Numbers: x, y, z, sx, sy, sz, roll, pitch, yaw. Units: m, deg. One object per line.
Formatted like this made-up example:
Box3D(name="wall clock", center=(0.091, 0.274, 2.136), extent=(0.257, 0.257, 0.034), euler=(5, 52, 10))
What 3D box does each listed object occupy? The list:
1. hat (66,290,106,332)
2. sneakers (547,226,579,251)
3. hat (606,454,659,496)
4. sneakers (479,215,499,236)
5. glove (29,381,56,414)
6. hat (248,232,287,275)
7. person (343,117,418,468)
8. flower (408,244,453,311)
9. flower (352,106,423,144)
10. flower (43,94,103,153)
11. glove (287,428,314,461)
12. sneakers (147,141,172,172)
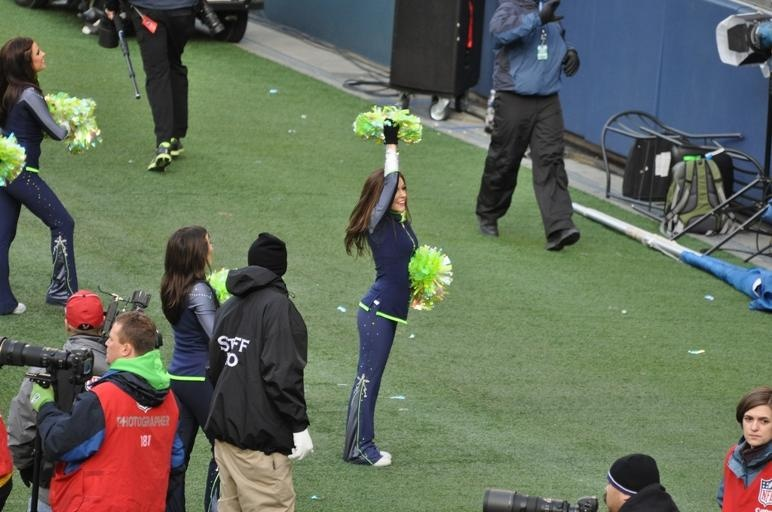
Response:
Box3D(name="hat", center=(-2.103, 0.412, 7.265), extent=(0.217, 0.282, 0.161), euler=(-2, -22, -11))
Box3D(name="sneakers", center=(1.855, -0.159, 10.841), extent=(0.290, 0.304, 0.144), euler=(24, 22, 39))
Box3D(name="hat", center=(1.512, 1.281, 6.267), extent=(0.294, 0.227, 0.212), euler=(23, 23, 17))
Box3D(name="sneakers", center=(1.109, -0.295, 11.164), extent=(0.110, 0.205, 0.316), euler=(-12, 19, -32))
Box3D(name="glove", center=(-2.186, 0.898, 6.596), extent=(0.108, 0.176, 0.167), euler=(-3, 21, -35))
Box3D(name="hat", center=(-0.779, -0.021, 7.007), extent=(0.312, 0.275, 0.224), euler=(-3, 8, -35))
Box3D(name="person", center=(-0.067, 0.342, 7.925), extent=(0.621, 2.383, 0.901), euler=(9, 18, -3))
Box3D(name="flower", center=(0.302, 0.164, 7.945), extent=(0.374, 0.361, 0.359), euler=(-4, 13, -29))
Box3D(name="flower", center=(0.024, -0.980, 8.245), extent=(0.583, 0.236, 0.566), euler=(1, 2, 11))
Box3D(name="flower", center=(-2.854, -1.160, 9.359), extent=(0.450, 0.511, 0.493), euler=(0, 5, 26))
Box3D(name="glove", center=(-0.544, 1.253, 6.865), extent=(0.183, 0.181, 0.210), euler=(-10, -4, 22))
Box3D(name="sneakers", center=(-2.589, -1.091, 11.820), extent=(0.182, 0.225, 0.429), euler=(4, -9, -17))
